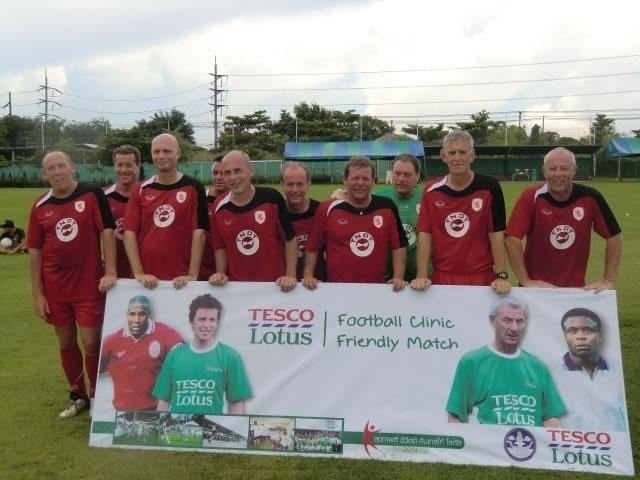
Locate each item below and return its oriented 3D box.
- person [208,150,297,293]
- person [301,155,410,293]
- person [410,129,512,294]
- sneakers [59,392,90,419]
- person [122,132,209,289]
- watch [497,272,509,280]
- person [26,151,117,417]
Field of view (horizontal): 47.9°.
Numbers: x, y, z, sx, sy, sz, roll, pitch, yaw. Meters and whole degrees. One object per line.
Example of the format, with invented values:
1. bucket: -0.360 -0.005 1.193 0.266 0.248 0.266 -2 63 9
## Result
1. person: -0.737 -0.219 8.007 0.999 1.527 0.583 -1 9 7
2. person: 0.372 -0.197 8.002 1.145 1.408 0.732 -1 9 4
3. person: 1.530 -0.338 7.910 0.944 1.689 0.644 0 9 9
4. sneakers: -2.715 1.875 8.070 0.148 0.215 0.413 -1 -7 21
5. person: -1.708 -0.330 8.013 0.939 1.655 0.668 -3 9 -10
6. watch: 1.934 0.391 7.711 0.095 0.070 0.109 -4 0 40
7. person: -2.740 0.483 8.089 0.953 2.923 0.630 -3 9 -11
